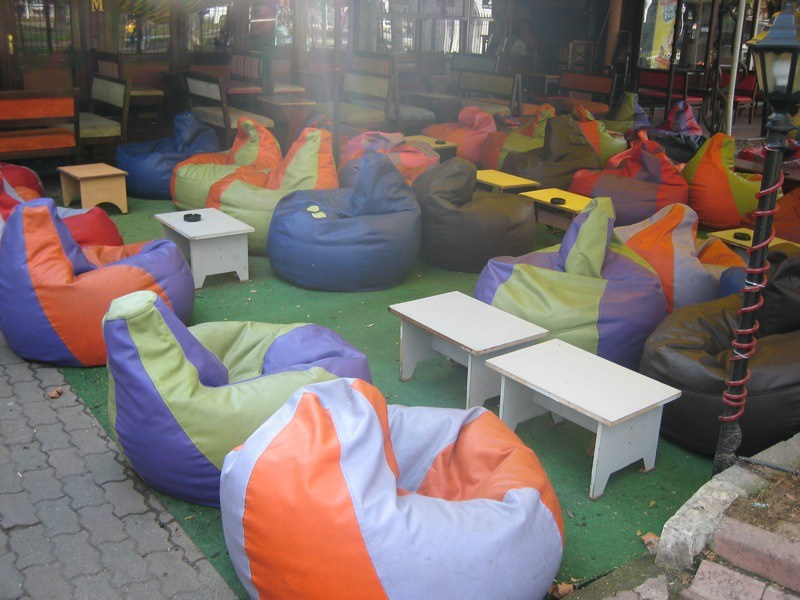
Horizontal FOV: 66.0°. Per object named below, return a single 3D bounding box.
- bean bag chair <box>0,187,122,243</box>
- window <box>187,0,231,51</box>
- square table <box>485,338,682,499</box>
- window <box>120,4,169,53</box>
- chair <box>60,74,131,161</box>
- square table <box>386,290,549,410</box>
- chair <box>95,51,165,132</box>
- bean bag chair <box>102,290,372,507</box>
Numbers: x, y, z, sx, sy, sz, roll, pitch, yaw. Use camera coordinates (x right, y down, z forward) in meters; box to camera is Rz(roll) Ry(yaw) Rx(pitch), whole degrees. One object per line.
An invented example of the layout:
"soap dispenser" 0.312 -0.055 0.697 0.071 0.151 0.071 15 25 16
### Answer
"bean bag chair" -2.290 -0.514 4.224 0.516 0.306 0.511 -10 20 -28
"window" -2.784 -3.968 8.999 0.698 0.655 0.188 -17 26 -37
"square table" 0.841 0.553 2.948 0.509 0.396 0.763 -12 19 -33
"window" -3.570 -3.775 8.504 0.720 0.737 0.031 -30 55 -32
"chair" -3.487 -2.072 7.039 0.552 0.936 1.236 -10 33 -27
"square table" 0.358 0.306 3.407 0.520 0.429 0.804 -13 22 -31
"chair" -3.642 -2.829 8.266 0.841 0.957 0.866 5 23 -2
"bean bag chair" -0.719 0.336 2.872 1.198 0.749 1.202 -6 21 -27
